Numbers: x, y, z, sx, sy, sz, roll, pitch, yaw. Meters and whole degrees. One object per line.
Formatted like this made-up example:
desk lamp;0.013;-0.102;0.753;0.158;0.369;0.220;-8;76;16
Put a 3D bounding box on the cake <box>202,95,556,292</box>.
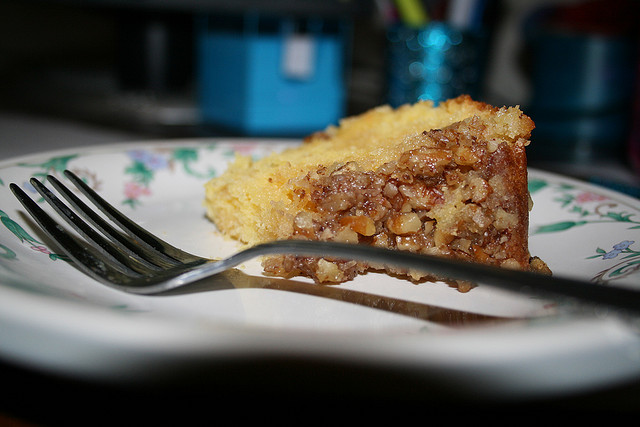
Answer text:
cake;0.117;-0.118;1.358;0.743;0.314;0.518;6;32;3
